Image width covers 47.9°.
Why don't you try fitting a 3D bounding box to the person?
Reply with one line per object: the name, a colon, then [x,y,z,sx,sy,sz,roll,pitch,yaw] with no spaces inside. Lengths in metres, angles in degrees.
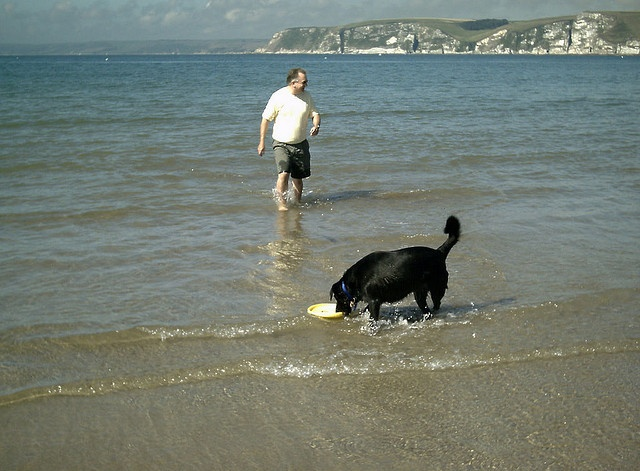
person: [-0.461,-1.454,10.918,0.900,2.089,0.721,-1,19,5]
